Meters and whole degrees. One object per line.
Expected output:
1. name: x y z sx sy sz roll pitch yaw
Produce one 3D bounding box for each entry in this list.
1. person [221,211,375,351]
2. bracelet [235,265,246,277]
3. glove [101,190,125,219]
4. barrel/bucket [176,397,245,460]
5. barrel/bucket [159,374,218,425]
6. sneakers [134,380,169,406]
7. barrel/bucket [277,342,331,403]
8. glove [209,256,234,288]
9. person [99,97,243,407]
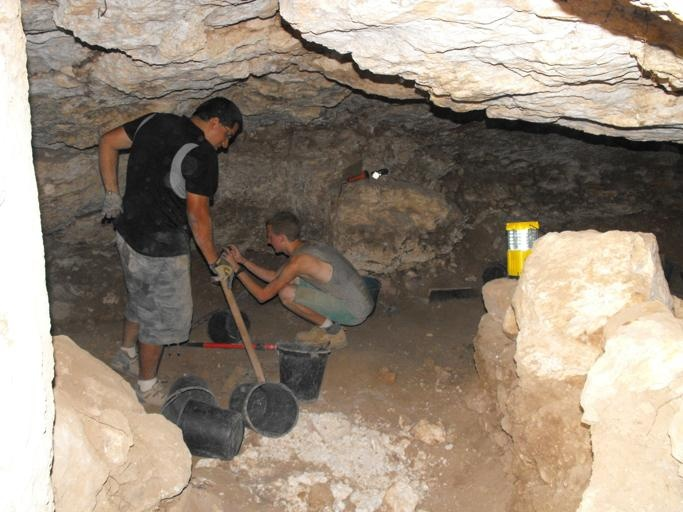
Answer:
1. person: -0.314 0.186 4.752 1.187 0.982 0.592 5 20 2
2. bracelet: -0.697 0.105 4.368 0.062 0.025 0.063 -35 5 16
3. glove: -1.463 -0.335 4.091 0.140 0.162 0.041 1 4 -8
4. barrel/bucket: -0.771 1.044 3.726 0.363 0.336 0.190 6 22 10
5. barrel/bucket: -0.931 0.875 3.858 0.294 0.222 0.276 2 -1 0
6. sneakers: -1.223 0.906 4.195 0.333 0.135 0.107 0 21 -7
7. barrel/bucket: -0.228 0.787 4.261 0.367 0.324 0.376 1 -1 0
8. glove: -0.805 0.105 4.248 0.163 0.207 0.086 -14 11 -34
9. person: -1.112 -0.034 4.141 0.857 1.921 0.649 -7 23 -20
